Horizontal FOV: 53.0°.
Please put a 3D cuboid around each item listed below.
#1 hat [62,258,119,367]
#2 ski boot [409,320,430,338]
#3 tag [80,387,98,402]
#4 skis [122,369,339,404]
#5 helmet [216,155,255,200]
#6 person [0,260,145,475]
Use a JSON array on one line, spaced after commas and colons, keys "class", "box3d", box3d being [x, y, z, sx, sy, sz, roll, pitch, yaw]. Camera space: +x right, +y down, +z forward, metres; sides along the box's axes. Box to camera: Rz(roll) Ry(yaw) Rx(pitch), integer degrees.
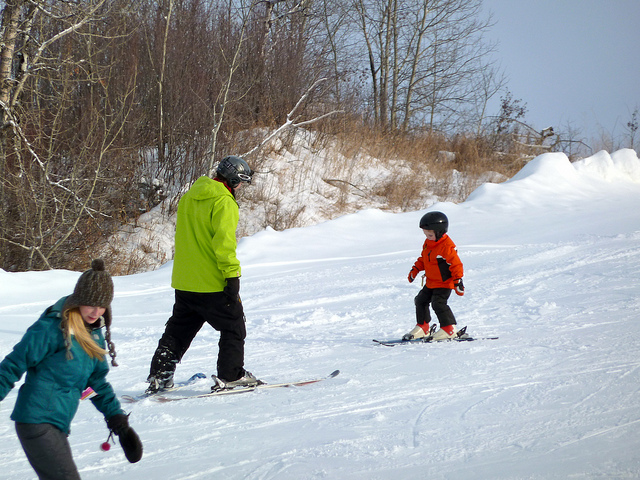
[{"class": "hat", "box3d": [-1.720, 0.605, 4.881, 0.362, 0.911, 0.473, -6, 11, -6]}, {"class": "ski boot", "box3d": [1.288, 1.162, 8.381, 0.246, 0.187, 0.271, -2, 10, 11]}, {"class": "tag", "box3d": [-1.752, 1.192, 4.852, 0.117, 0.032, 0.113, 14, 42, 33]}, {"class": "skis", "box3d": [-0.947, 1.532, 6.615, 2.227, 0.146, 0.193, -3, -1, -11]}, {"class": "helmet", "box3d": [-0.939, -0.685, 6.807, 0.437, 0.418, 0.357, 17, 10, -27]}, {"class": "person", "box3d": [-1.878, 0.948, 4.720, 0.846, 1.493, 0.481, -9, 11, -19]}]
